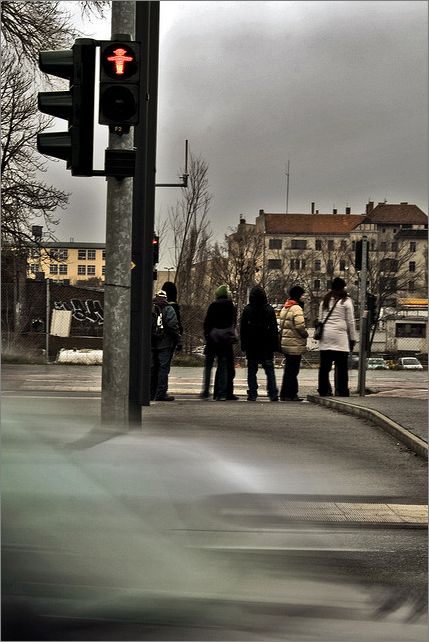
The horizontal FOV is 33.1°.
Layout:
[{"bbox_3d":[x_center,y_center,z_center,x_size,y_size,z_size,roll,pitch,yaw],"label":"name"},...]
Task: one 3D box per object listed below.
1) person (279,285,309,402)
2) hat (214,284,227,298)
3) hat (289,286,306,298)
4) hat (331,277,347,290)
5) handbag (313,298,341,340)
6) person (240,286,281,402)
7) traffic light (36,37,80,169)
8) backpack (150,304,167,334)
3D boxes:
[{"bbox_3d":[1.221,0.320,11.295,0.454,1.854,1.004,6,-4,7],"label":"person"},{"bbox_3d":[0.102,-0.455,11.003,0.167,0.184,0.203,1,-36,-6],"label":"hat"},{"bbox_3d":[1.253,-0.459,11.163,0.181,0.203,0.226,1,9,38],"label":"hat"},{"bbox_3d":[1.869,-0.551,10.862,0.181,0.215,0.227,-2,17,13],"label":"hat"},{"bbox_3d":[1.659,-0.037,10.913,0.228,0.641,0.406,9,-4,-32],"label":"handbag"},{"bbox_3d":[0.725,0.337,11.058,0.698,1.770,0.669,6,-4,3],"label":"person"},{"bbox_3d":[-1.194,-1.659,5.429,0.334,0.735,0.339,7,-4,-16],"label":"traffic light"},{"bbox_3d":[-0.840,-0.034,10.781,0.197,0.316,0.345,6,-3,-5],"label":"backpack"}]
